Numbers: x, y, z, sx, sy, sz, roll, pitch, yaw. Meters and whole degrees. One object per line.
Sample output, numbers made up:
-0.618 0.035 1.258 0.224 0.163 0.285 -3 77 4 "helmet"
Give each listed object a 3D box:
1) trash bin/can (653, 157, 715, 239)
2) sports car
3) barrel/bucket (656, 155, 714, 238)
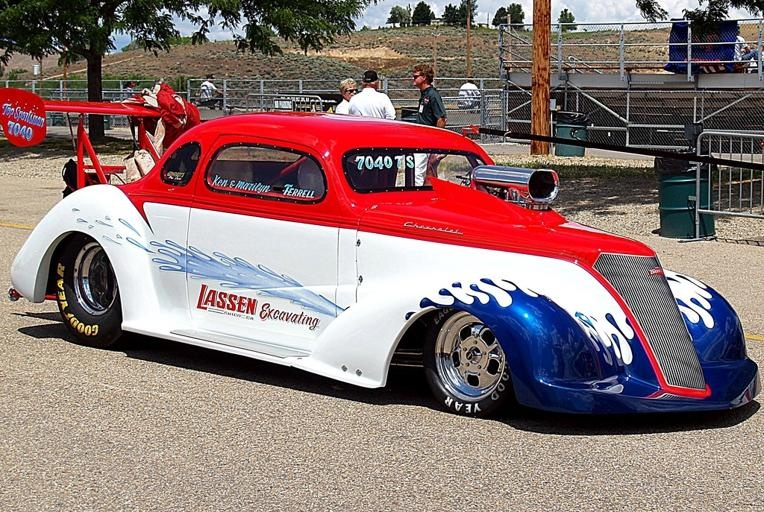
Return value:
4.837 -0.918 13.968 0.846 1.336 1.193 0 11 1 "trash bin/can"
0.171 0.024 7.809 5.676 1.881 2.583 10 15 31 "sports car"
4.921 -0.895 13.777 0.734 1.393 0.781 -4 -7 0 "barrel/bucket"
